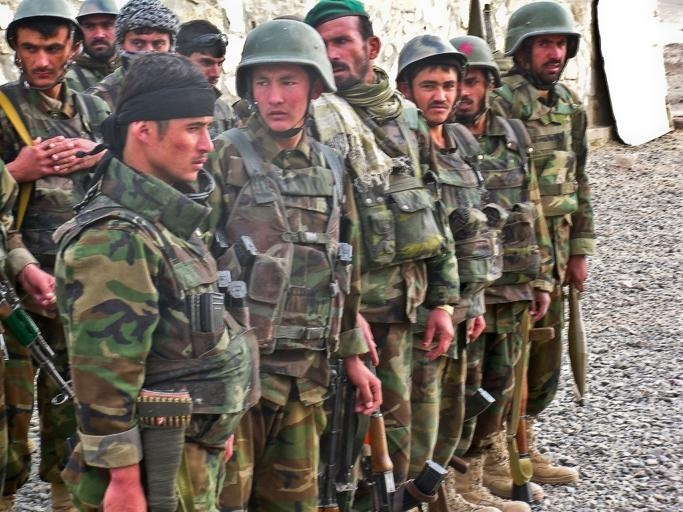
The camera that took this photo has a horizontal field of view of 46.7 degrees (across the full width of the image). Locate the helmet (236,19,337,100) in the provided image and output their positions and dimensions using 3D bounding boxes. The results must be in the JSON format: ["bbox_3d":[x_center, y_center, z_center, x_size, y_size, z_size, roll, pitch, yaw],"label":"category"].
[{"bbox_3d":[-0.239,-0.865,3.488,0.504,0.207,0.376,-1,-5,2],"label":"helmet"}]

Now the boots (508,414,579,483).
[{"bbox_3d":[1.244,1.251,4.919,0.235,0.301,0.570,-26,-10,-10],"label":"boots"}]
